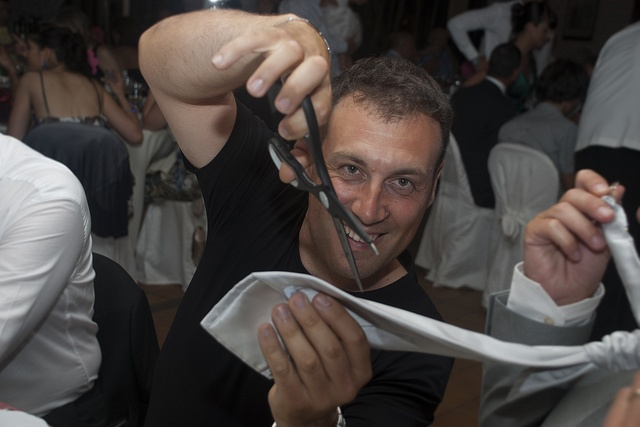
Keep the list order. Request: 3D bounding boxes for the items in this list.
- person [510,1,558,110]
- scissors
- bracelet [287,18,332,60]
[{"bbox_3d":[1.987,-1.498,4.596,0.474,0.384,1.201,7,-26,19],"label":"person"},{"bbox_3d":[0.004,-0.038,1.237,0.363,0.497,0.169,13,21,27],"label":"scissors"},{"bbox_3d":[-0.024,-0.496,1.378,0.120,0.093,0.279,4,20,3],"label":"bracelet"}]
